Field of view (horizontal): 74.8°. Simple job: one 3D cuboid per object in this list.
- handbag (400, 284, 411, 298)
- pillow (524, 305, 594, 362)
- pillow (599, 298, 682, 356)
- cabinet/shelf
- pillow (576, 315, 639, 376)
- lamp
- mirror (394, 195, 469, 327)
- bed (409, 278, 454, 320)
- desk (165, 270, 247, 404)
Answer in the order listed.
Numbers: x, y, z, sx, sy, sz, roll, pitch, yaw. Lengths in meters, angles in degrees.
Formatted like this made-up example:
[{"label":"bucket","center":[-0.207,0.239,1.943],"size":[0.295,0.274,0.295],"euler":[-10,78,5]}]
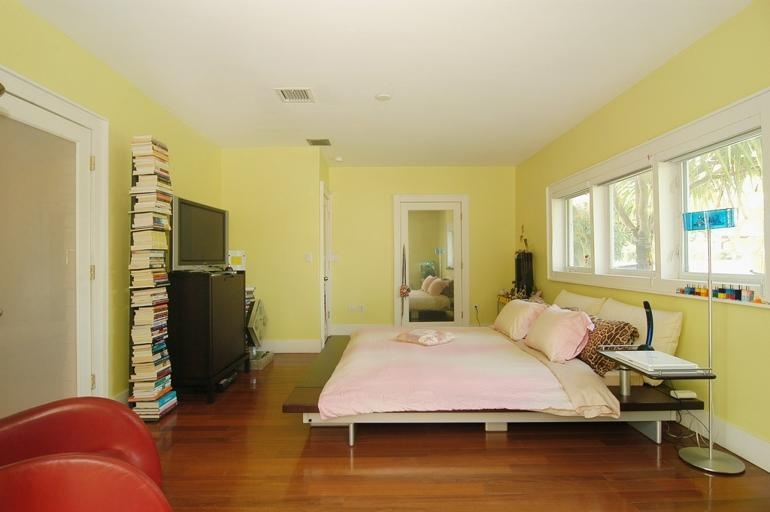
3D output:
[{"label":"handbag","center":[0.295,0.519,7.664],"size":[0.201,0.188,0.100],"euler":[1,-4,-15]},{"label":"pillow","center":[1.625,0.729,4.750],"size":[0.410,0.459,0.771],"euler":[7,-2,-2]},{"label":"pillow","center":[2.420,0.659,4.592],"size":[0.137,0.441,0.445],"euler":[26,-14,-37]},{"label":"cabinet/shelf","center":[-2.240,0.201,4.837],"size":[0.401,2.664,0.298],"euler":[0,0,-24]},{"label":"pillow","center":[2.122,0.730,4.674],"size":[0.510,0.129,0.521],"euler":[15,26,39]},{"label":"lamp","center":[2.659,0.653,4.082],"size":[0.528,2.048,0.426],"euler":[0,0,-41]},{"label":"mirror","center":[0.704,0.046,7.743],"size":[1.098,1.936,0.136],"euler":[0,0,2]},{"label":"bed","center":[0.699,0.654,7.823],"size":[0.666,0.408,0.678],"euler":[1,-1,0]},{"label":"desk","center":[-1.906,0.847,5.238],"size":[0.495,1.256,1.353],"euler":[0,-1,1]}]
